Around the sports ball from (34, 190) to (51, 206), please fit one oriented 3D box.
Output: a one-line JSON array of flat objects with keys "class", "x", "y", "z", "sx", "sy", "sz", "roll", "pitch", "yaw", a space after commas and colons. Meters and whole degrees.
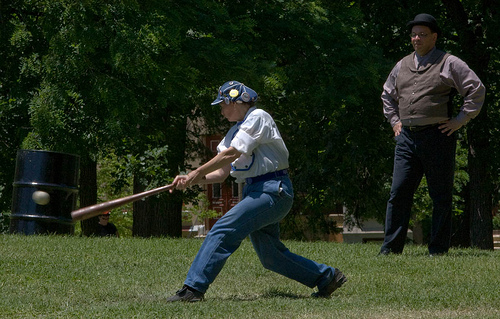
[{"class": "sports ball", "x": -3.564, "y": 0.645, "z": 14.931, "sx": 0.328, "sy": 0.254, "sz": 0.262, "roll": -5, "pitch": -17, "yaw": -10}]
